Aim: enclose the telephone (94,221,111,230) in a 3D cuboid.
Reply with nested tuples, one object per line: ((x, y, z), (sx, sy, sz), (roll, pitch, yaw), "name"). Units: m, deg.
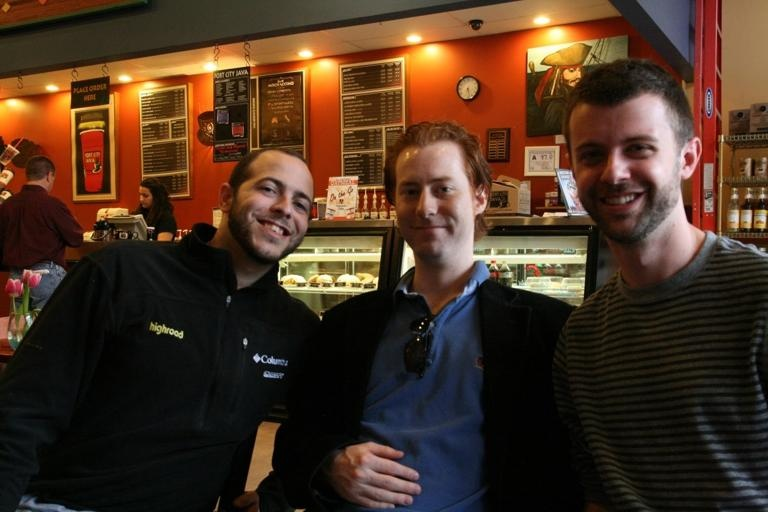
((-2.870, -0.316, 6.320), (0.124, 0.069, 0.122), (0, 1, 4), "telephone")

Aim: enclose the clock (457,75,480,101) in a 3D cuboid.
((0.898, -1.768, 6.490), (0.292, 0.277, 0.076), (0, 3, 22), "clock")

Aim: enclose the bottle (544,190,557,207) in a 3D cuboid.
((1.648, -0.571, 6.102), (0.097, 0.164, 0.180), (-2, 4, -40), "bottle")

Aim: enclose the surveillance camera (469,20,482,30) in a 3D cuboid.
((0.899, -2.274, 6.050), (0.091, 0.057, 0.087), (0, -8, 2), "surveillance camera")

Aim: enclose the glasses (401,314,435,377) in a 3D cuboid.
((0.132, 0.342, 2.342), (0.117, 0.203, 0.043), (3, -14, 41), "glasses")

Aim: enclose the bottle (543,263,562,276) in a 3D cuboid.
((1.068, 0.087, 3.889), (0.124, 0.079, 0.067), (9, -5, 17), "bottle")
